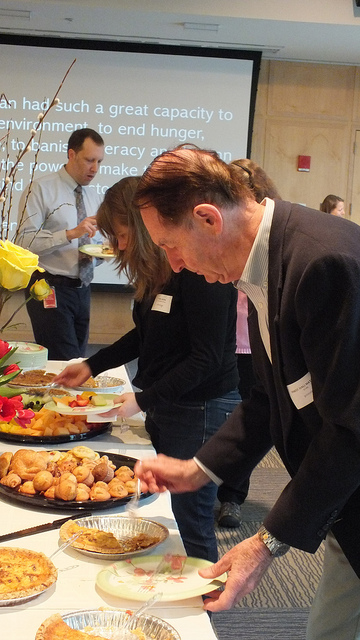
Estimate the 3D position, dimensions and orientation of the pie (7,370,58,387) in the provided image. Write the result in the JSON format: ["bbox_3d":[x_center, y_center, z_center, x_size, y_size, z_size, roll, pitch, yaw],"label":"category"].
[{"bbox_3d":[-0.627,0.249,1.971,0.171,0.065,0.319,7,0,-15],"label":"pie"}]

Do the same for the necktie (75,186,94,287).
[{"bbox_3d":[-0.742,-0.796,3.725,0.117,0.817,0.060,-39,-33,30],"label":"necktie"}]

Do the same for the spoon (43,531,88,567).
[{"bbox_3d":[-0.189,0.367,0.786,0.020,0.099,0.017,42,-7,18],"label":"spoon"}]

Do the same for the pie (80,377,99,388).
[{"bbox_3d":[-0.373,0.249,1.883,0.047,0.021,0.057,2,2,5],"label":"pie"}]
